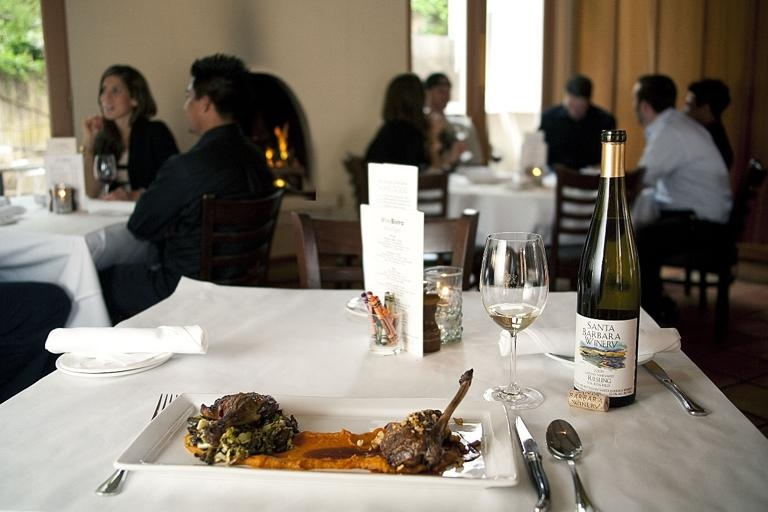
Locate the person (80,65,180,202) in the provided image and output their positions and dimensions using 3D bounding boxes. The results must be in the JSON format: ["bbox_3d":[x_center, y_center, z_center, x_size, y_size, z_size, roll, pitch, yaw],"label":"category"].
[{"bbox_3d":[-1.181,-0.487,2.745,0.461,0.757,0.355,-3,14,-25],"label":"person"}]

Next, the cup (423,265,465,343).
[{"bbox_3d":[0.131,0.108,1.306,0.098,0.170,0.099,1,13,0],"label":"cup"}]

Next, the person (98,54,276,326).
[{"bbox_3d":[-0.986,-0.240,2.868,0.766,1.461,0.549,19,24,16],"label":"person"}]

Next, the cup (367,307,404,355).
[{"bbox_3d":[0.006,0.159,1.260,0.078,0.094,0.080,-1,2,0],"label":"cup"}]

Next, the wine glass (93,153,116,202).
[{"bbox_3d":[-1.273,-0.341,2.690,0.108,0.264,0.094,-7,27,-28],"label":"wine glass"}]
